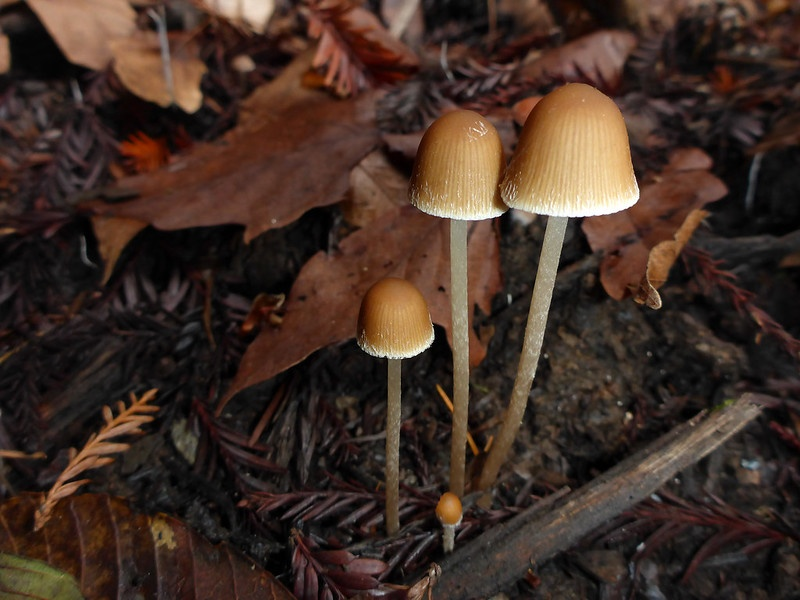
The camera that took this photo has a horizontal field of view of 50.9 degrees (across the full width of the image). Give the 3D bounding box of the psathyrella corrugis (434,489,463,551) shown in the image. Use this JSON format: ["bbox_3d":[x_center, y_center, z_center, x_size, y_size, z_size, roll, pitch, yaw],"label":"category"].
[{"bbox_3d":[0.226,0.972,3.821,0.121,0.335,0.223,7,43,5],"label":"psathyrella corrugis"}]
